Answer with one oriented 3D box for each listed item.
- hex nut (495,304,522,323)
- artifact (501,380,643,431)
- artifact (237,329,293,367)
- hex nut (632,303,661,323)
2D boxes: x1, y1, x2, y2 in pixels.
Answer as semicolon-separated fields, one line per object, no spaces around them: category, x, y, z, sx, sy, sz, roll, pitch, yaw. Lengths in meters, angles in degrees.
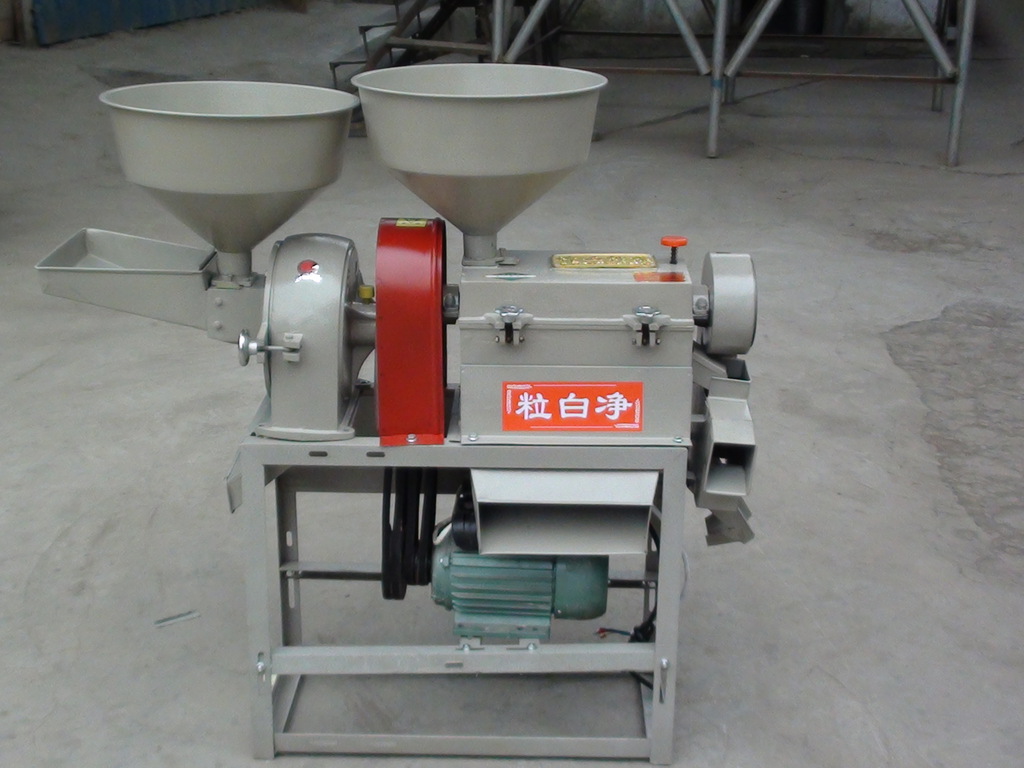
hex nut;-0.008;-0.195;2.593;0.073;0.027;0.078;0;25;-2
artifact;0.172;0.063;2.663;0.401;0.138;0.031;0;23;-2
artifact;-0.713;-0.099;2.655;0.144;0.091;0.096;4;44;-2
hex nut;0.374;-0.188;2.588;0.074;0.044;0.062;2;25;3
